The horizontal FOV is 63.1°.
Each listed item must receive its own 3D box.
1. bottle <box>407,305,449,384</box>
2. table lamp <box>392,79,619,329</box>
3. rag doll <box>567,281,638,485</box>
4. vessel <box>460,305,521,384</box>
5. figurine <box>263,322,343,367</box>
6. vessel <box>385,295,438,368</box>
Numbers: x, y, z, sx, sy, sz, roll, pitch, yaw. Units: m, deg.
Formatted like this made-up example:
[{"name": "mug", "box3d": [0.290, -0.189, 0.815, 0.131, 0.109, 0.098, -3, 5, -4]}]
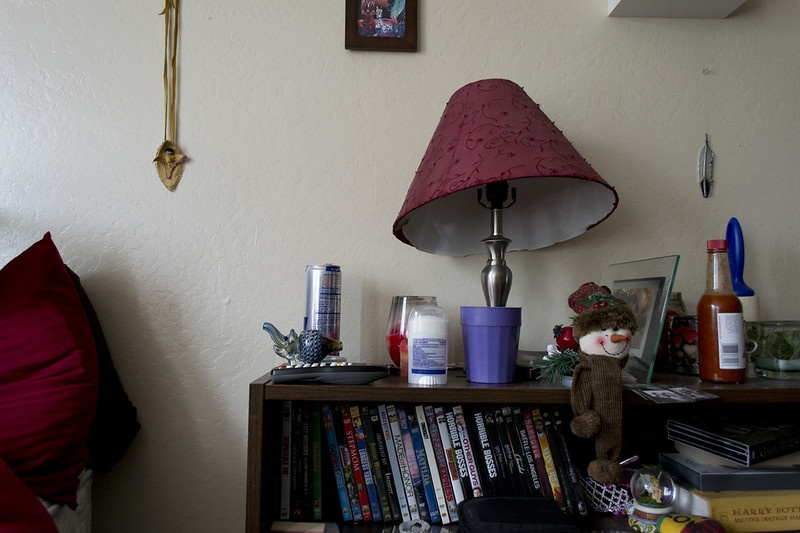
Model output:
[{"name": "bottle", "box3d": [0.083, 0.212, 1.760, 0.173, 0.210, 0.174, -1, -8, 8]}, {"name": "table lamp", "box3d": [0.284, -0.182, 1.914, 0.601, 0.701, 0.666, 0, -15, -15]}, {"name": "rag doll", "box3d": [0.530, 0.294, 1.707, 0.169, 0.496, 0.229, 1, 0, 14]}, {"name": "vessel", "box3d": [0.246, 0.209, 1.794, 0.172, 0.191, 0.175, -2, -6, 34]}, {"name": "figurine", "box3d": [-0.263, 0.212, 1.760, 0.206, 0.112, 0.092, 1, 2, -1]}, {"name": "vessel", "box3d": [0.025, 0.197, 1.924, 0.154, 0.200, 0.160, 8, -5, -30]}]
